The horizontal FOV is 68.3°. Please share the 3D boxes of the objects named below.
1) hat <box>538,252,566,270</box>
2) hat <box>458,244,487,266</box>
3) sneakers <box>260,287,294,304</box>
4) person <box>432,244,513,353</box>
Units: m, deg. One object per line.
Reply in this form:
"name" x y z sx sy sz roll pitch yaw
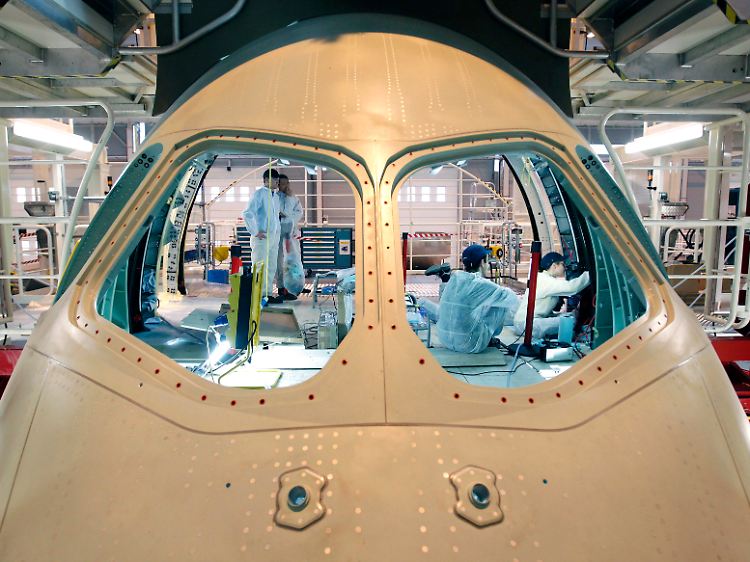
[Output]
"hat" 2.131 -0.253 6.608 0.232 0.140 0.172 -16 4 -3
"hat" 1.073 -0.313 5.978 0.188 0.149 0.277 6 32 35
"sneakers" -1.733 0.265 9.932 0.511 0.229 0.194 -3 9 -10
"person" 1.011 0.166 6.010 0.737 1.134 0.868 -4 9 -16
